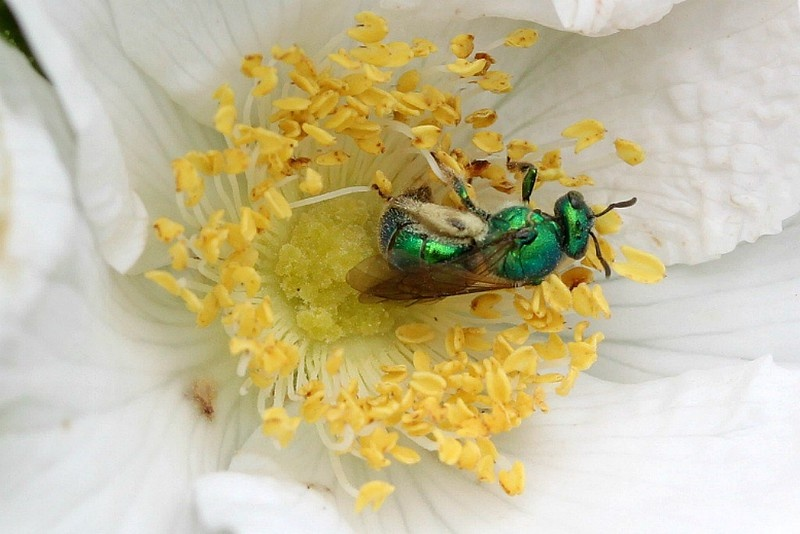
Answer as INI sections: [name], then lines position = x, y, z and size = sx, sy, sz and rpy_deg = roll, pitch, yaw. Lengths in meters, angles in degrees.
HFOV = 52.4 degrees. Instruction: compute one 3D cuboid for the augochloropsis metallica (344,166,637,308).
[augochloropsis metallica]
position = 0.150, -0.042, 1.525
size = 0.454, 0.324, 0.293
rpy_deg = -12, 101, -28
